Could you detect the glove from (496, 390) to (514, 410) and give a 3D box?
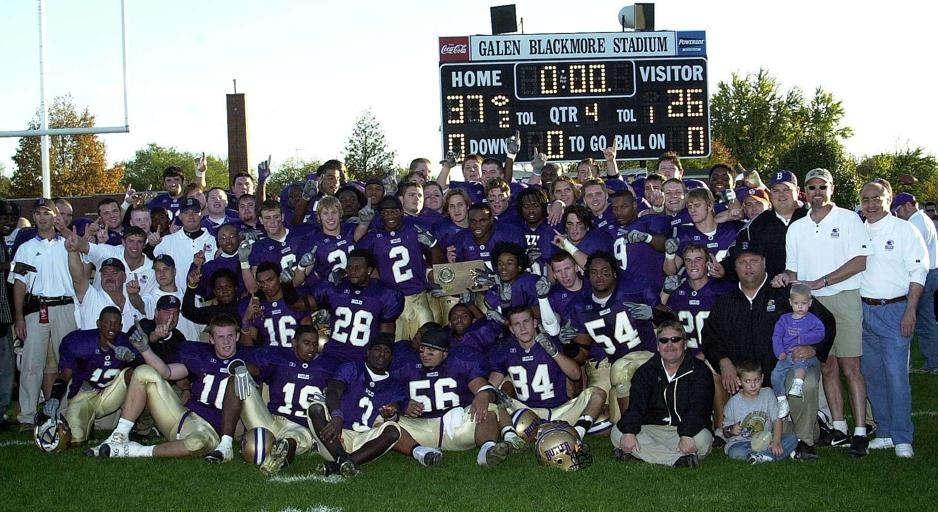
[{"bbox_3d":[0.515,2.189,12.981,0.221,0.272,0.105,-39,16,4],"label":"glove"}]

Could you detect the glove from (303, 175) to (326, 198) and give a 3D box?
[{"bbox_3d":[-2.773,-1.222,15.215,0.293,0.389,0.178,11,8,7],"label":"glove"}]

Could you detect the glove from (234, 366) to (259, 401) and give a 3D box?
[{"bbox_3d":[-3.311,1.877,12.651,0.350,0.455,0.133,-5,12,-12],"label":"glove"}]

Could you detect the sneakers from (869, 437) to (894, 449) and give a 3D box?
[{"bbox_3d":[6.054,2.770,12.722,0.375,0.163,0.148,3,-6,-2],"label":"sneakers"}]

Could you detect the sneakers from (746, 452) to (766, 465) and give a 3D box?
[{"bbox_3d":[4.116,2.906,12.331,0.261,0.117,0.116,-1,-3,15],"label":"sneakers"}]

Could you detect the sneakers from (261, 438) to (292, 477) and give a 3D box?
[{"bbox_3d":[-2.739,2.891,12.437,0.614,0.263,0.280,-47,4,-8],"label":"sneakers"}]

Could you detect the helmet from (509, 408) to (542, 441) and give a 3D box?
[{"bbox_3d":[0.835,2.538,12.930,0.482,0.364,0.399,-11,-7,18],"label":"helmet"}]

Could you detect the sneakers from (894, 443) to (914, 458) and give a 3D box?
[{"bbox_3d":[6.256,2.810,12.416,0.234,0.217,0.182,-1,-1,19],"label":"sneakers"}]

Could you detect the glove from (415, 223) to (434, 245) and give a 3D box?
[{"bbox_3d":[-0.751,-0.348,14.449,0.139,0.323,0.214,-50,-2,-28],"label":"glove"}]

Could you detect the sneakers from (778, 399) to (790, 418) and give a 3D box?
[{"bbox_3d":[4.499,2.195,12.408,0.110,0.142,0.331,-29,21,39],"label":"sneakers"}]

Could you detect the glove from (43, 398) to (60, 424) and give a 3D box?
[{"bbox_3d":[-6.251,2.320,12.879,0.228,0.310,0.095,2,-3,-2],"label":"glove"}]

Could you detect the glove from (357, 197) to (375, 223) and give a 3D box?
[{"bbox_3d":[-1.741,-0.769,14.532,0.245,0.383,0.190,-6,-8,-4],"label":"glove"}]

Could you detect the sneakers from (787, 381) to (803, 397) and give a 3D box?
[{"bbox_3d":[4.693,1.911,12.435,0.199,0.227,0.117,-1,-1,3],"label":"sneakers"}]

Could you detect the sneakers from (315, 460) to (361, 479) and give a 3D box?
[{"bbox_3d":[-1.889,3.048,12.330,0.647,0.232,0.287,0,-12,6],"label":"sneakers"}]

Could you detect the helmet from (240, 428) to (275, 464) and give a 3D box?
[{"bbox_3d":[-3.068,2.801,12.632,0.519,0.529,0.470,6,-13,5],"label":"helmet"}]

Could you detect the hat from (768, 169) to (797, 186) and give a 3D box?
[{"bbox_3d":[4.884,-1.221,13.422,0.283,0.229,0.413,-14,-26,29],"label":"hat"}]

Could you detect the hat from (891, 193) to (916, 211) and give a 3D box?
[{"bbox_3d":[7.827,-1.004,15.444,0.491,0.263,0.339,-8,5,12],"label":"hat"}]

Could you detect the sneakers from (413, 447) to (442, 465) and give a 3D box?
[{"bbox_3d":[-0.627,2.932,12.618,0.324,0.219,0.152,14,10,40],"label":"sneakers"}]

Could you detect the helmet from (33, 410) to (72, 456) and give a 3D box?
[{"bbox_3d":[-6.198,2.675,13.068,0.443,0.505,0.586,2,6,2],"label":"helmet"}]

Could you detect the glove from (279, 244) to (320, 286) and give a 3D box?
[{"bbox_3d":[-2.777,0.205,13.995,0.855,0.309,0.291,-47,-21,27],"label":"glove"}]

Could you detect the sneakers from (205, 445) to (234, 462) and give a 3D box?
[{"bbox_3d":[-3.651,2.918,12.592,0.419,0.162,0.170,6,8,-18],"label":"sneakers"}]
